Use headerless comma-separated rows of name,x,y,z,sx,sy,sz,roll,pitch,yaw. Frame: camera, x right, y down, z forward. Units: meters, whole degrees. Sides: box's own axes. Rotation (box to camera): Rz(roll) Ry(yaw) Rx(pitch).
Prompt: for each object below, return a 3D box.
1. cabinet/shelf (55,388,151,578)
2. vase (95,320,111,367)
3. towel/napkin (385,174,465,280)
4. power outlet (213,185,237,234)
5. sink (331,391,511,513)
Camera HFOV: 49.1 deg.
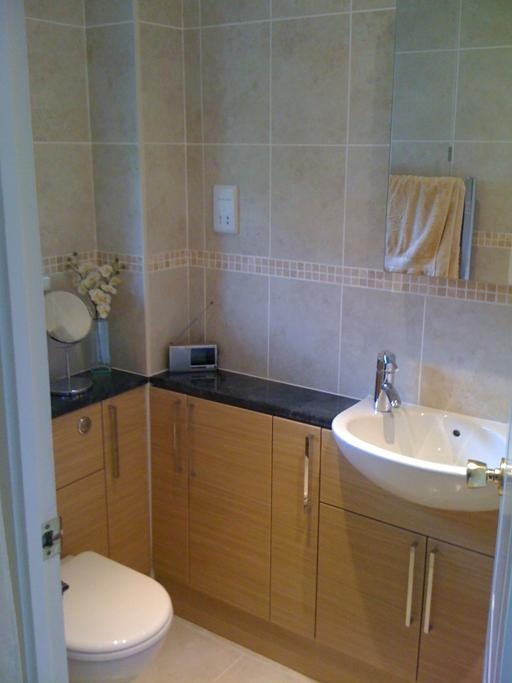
cabinet/shelf,-0.553,0.613,2.152,0.313,0.266,0.685,-6,39,-13
vase,-0.583,0.005,2.126,0.051,0.194,0.071,-4,12,-20
towel/napkin,0.486,-0.331,1.628,0.214,0.347,0.028,5,-24,19
power outlet,-0.115,-0.480,2.081,0.097,0.223,0.024,1,-26,-6
sink,0.448,0.344,1.591,0.468,0.231,0.444,9,16,30
